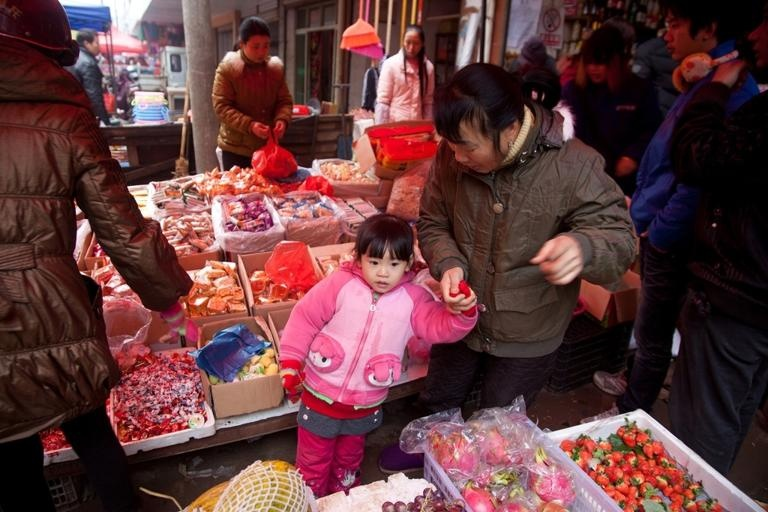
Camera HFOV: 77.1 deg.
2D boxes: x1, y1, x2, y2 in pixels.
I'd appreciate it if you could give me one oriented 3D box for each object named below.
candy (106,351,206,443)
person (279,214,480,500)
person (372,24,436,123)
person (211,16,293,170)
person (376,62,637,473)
[{"bbox_3d":[-1.318,0.841,2.955,0.697,0.364,0.333,3,25,-2],"label":"candy"},{"bbox_3d":[-0.149,0.650,2.675,0.770,1.713,0.776,-13,31,-30],"label":"person"},{"bbox_3d":[0.265,-1.892,5.279,0.643,1.378,0.598,-13,28,-26],"label":"person"},{"bbox_3d":[-1.247,-1.506,4.575,0.598,1.729,0.664,23,33,34],"label":"person"},{"bbox_3d":[0.662,-0.015,2.409,1.048,1.743,0.659,5,24,8],"label":"person"}]
